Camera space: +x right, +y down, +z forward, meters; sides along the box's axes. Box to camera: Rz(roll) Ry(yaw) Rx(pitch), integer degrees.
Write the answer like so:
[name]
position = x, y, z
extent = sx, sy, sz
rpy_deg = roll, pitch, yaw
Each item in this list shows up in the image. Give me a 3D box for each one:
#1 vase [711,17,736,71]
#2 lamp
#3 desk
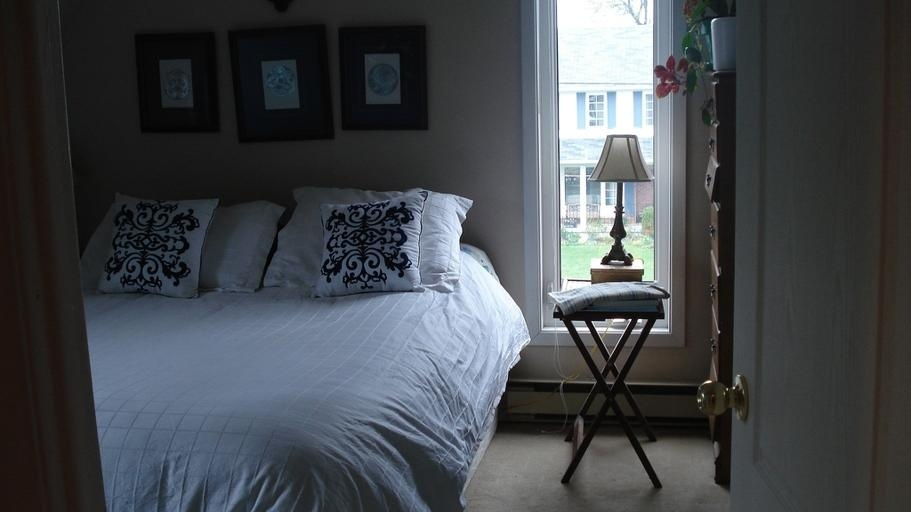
[vase]
position = 1.201, -0.936, 3.023
extent = 0.132, 0.213, 0.134
rpy_deg = -10, 16, -7
[lamp]
position = 0.877, -0.300, 3.640
extent = 0.303, 0.695, 0.338
rpy_deg = 2, 14, 15
[desk]
position = 0.705, 0.587, 3.732
extent = 0.790, 1.227, 0.944
rpy_deg = -1, 7, 10
